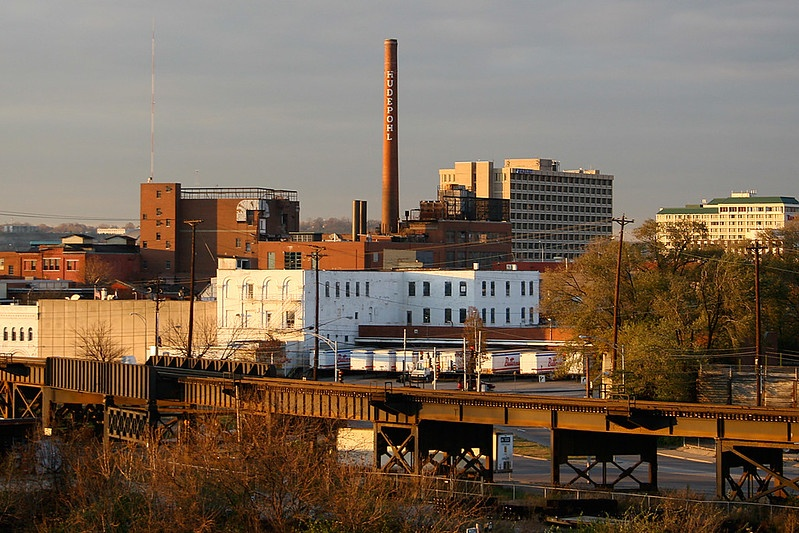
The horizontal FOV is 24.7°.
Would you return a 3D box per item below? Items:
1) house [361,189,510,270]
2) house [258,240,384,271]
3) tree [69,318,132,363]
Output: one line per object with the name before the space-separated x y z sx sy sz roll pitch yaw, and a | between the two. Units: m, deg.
house | 6.923 -4.188 264.433 17.501 10.879 9.365 1 -2 -20
house | -10.268 -1.310 235.114 15.624 3.910 7.089 0 -3 4
tree | -34.202 7.807 208.829 6.307 6.501 5.451 4 -10 -43
